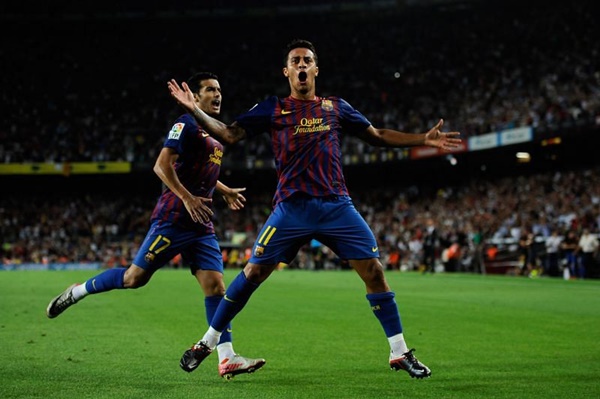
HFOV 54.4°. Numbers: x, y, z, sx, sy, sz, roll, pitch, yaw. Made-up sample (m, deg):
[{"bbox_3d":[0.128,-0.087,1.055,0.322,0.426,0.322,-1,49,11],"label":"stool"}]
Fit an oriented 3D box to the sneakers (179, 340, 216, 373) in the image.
[{"bbox_3d":[-1.504,2.222,8.361,0.647,0.246,0.279,-38,3,-20],"label":"sneakers"}]
